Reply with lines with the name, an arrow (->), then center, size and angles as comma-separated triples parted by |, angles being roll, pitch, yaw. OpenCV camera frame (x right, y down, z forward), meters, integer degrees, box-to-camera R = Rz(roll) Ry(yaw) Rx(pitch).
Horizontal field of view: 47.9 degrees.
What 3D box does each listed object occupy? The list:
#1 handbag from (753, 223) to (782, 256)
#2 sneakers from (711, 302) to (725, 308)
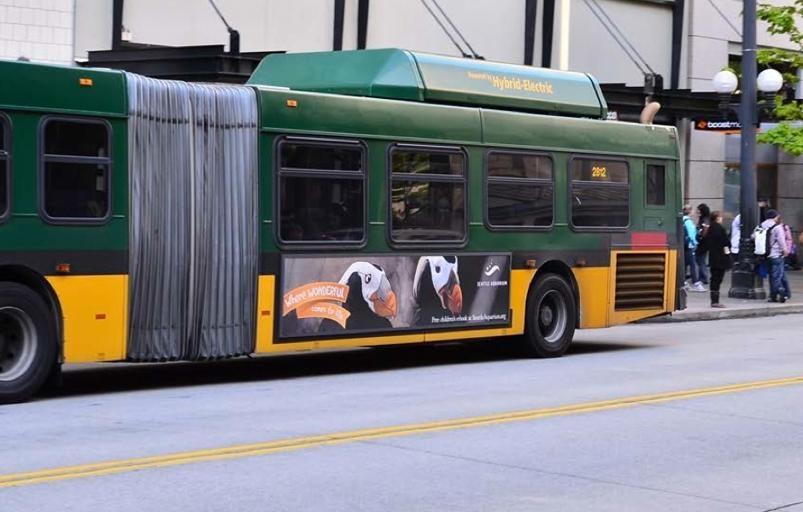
handbag -> 9.350, -0.411, 23.325 | 0.845, 0.789, 0.508 | 6, -3, -32
sneakers -> 7.835, 1.201, 22.319 | 0.315, 0.084, 0.165 | -1, 1, 27
